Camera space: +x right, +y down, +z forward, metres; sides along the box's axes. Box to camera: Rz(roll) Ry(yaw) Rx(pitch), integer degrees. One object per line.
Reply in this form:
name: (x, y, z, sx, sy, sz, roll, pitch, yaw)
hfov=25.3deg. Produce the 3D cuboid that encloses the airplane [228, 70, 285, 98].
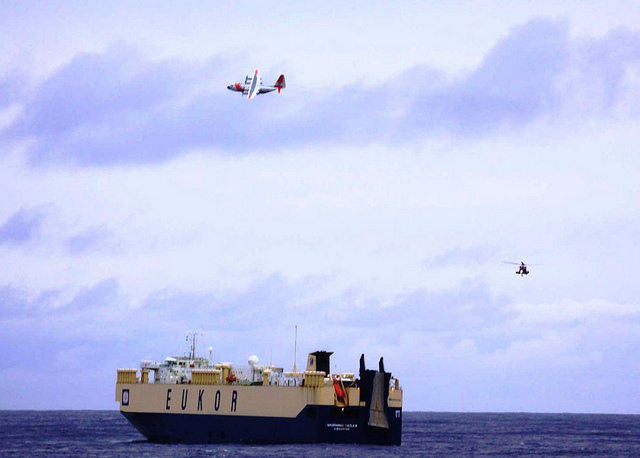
airplane: (-12.753, -29.454, 295.766, 10.271, 5.618, 12.502, 1, -12, -6)
